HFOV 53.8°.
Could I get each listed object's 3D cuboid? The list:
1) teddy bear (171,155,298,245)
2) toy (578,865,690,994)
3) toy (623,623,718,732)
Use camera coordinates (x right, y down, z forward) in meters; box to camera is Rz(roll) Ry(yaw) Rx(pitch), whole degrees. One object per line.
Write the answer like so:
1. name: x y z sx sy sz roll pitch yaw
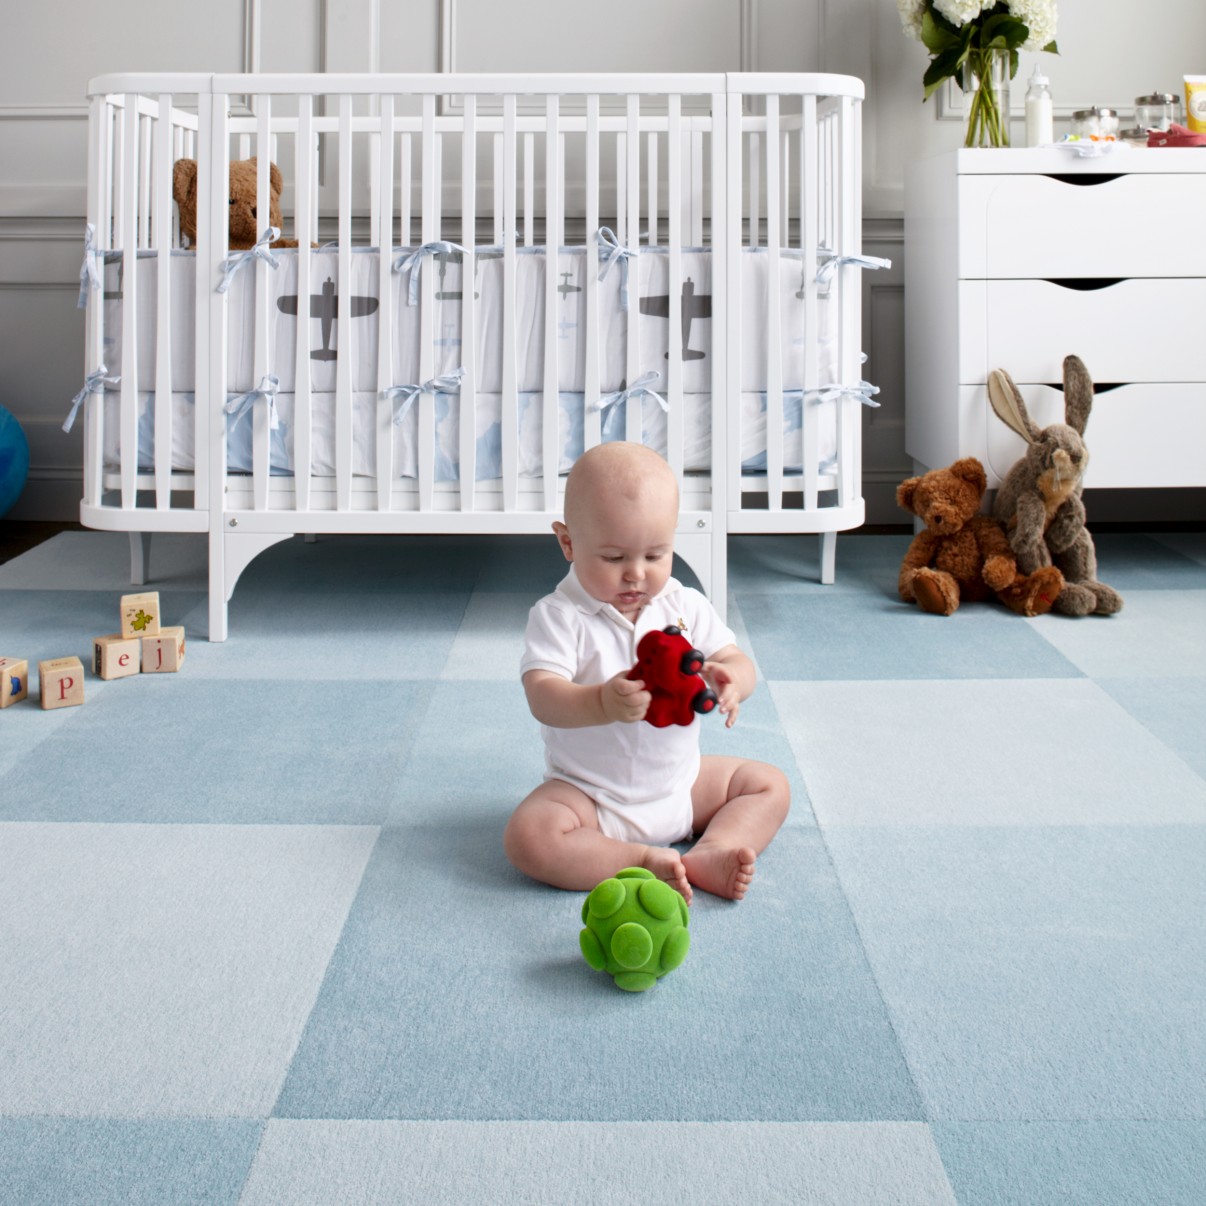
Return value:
1. teddy bear: -0.783 -0.836 2.497 0.226 0.199 0.337 1 22 1
2. toy: 0.026 0.281 1.072 0.097 0.100 0.093 -6 4 -33
3. toy: 0.064 0.070 1.100 0.074 0.089 0.093 3 -2 -30
